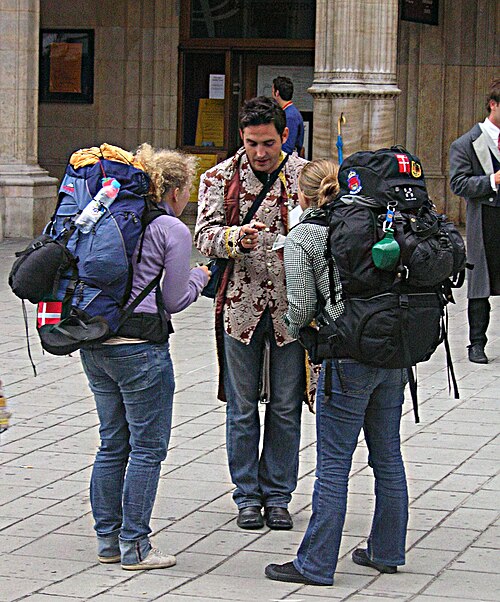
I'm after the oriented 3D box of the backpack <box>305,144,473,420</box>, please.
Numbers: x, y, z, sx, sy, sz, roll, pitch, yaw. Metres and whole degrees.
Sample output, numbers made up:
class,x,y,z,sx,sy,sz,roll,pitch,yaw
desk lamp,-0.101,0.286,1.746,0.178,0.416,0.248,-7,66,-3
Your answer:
class,x,y,z,sx,sy,sz,roll,pitch,yaw
backpack,0.483,-0.070,3.058,0.576,0.935,0.409,0,8,-3

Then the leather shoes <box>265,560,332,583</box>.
class,x,y,z,sx,sy,sz,roll,pitch,yaw
leather shoes,0.179,0.945,3.154,0.220,0.065,0.078,4,-6,22

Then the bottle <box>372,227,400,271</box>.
class,x,y,z,sx,sy,sz,roll,pitch,yaw
bottle,0.444,-0.164,2.878,0.074,0.132,0.095,6,9,33

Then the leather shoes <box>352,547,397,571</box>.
class,x,y,z,sx,sy,sz,roll,pitch,yaw
leather shoes,0.456,0.953,3.291,0.063,0.052,0.161,-3,3,-40

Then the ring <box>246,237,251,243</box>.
class,x,y,z,sx,sy,sz,roll,pitch,yaw
ring,-0.005,-0.254,3.682,0.017,0.022,0.009,-6,10,-40

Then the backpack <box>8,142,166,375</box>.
class,x,y,z,sx,sy,sz,roll,pitch,yaw
backpack,-0.577,-0.203,3.197,0.414,0.732,0.508,6,9,35

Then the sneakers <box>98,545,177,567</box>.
class,x,y,z,sx,sy,sz,roll,pitch,yaw
sneakers,-0.431,0.951,3.313,0.322,0.090,0.091,-1,-3,-3
